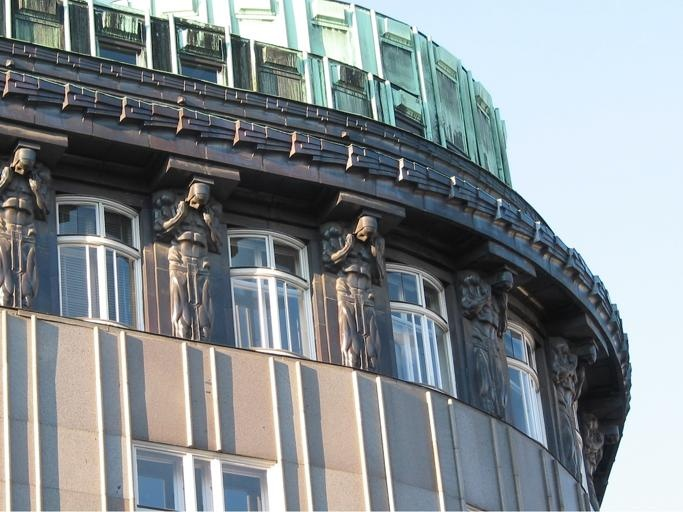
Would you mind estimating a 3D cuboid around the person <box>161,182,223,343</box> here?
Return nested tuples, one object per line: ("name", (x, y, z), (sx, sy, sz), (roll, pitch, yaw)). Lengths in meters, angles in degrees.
("person", (-3.379, 0.085, 30.804), (1.502, 3.538, 1.036), (13, -37, -18))

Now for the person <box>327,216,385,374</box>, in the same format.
("person", (0.283, 0.866, 32.266), (1.515, 3.563, 1.098), (5, -35, -6))

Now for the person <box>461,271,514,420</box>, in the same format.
("person", (3.793, 2.186, 34.604), (0.900, 3.767, 1.598), (-26, -43, 32))
